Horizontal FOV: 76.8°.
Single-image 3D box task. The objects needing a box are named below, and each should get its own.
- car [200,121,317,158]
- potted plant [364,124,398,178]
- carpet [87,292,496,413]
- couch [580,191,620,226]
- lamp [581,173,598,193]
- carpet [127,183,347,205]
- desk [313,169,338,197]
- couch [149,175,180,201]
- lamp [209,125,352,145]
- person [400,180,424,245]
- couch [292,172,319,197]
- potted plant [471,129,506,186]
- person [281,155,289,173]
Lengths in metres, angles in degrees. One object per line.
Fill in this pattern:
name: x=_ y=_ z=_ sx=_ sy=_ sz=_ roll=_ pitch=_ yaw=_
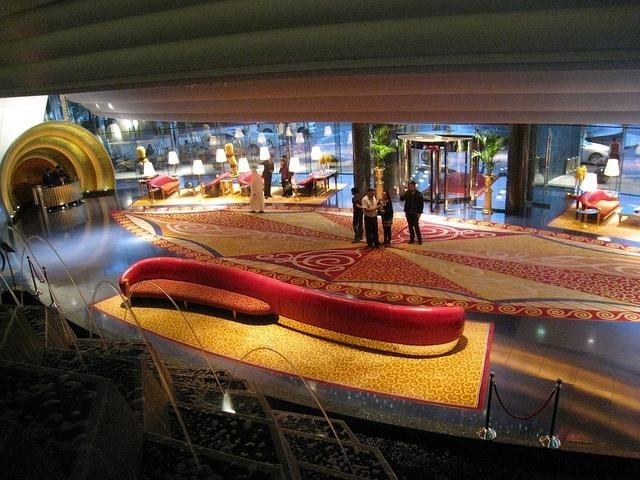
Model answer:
car: x=-2.900 y=-5.015 z=20.043 sx=5.028 sy=0.947 sz=2.347 roll=3 pitch=17 yaw=13
potted plant: x=2.305 y=-3.453 z=14.772 sx=0.925 sy=1.635 sz=0.719 roll=-2 pitch=16 yaw=7
carpet: x=0.382 y=1.763 z=6.328 sx=4.334 sy=0.044 sz=1.314 roll=3 pitch=19 yaw=24
couch: x=7.920 y=-0.913 z=11.811 sx=1.451 sy=0.441 sz=0.730 roll=-20 pitch=26 yaw=-38
lamp: x=7.673 y=-1.705 z=11.840 sx=0.386 sy=0.547 sz=0.447 roll=4 pitch=16 yaw=26
carpet: x=-3.149 y=-1.773 z=16.660 sx=8.459 sy=0.547 sz=2.403 roll=0 pitch=10 yaw=9
desk: x=0.254 y=-2.401 z=16.994 sx=0.680 sy=0.692 sz=1.834 roll=5 pitch=16 yaw=19
couch: x=-6.513 y=-2.256 z=17.614 sx=0.995 sy=0.599 sz=1.565 roll=10 pitch=23 yaw=14
lamp: x=-2.022 y=-5.235 z=19.594 sx=3.653 sy=0.517 sz=2.849 roll=-4 pitch=8 yaw=-30
person: x=2.383 y=-0.719 z=10.652 sx=0.516 sy=1.667 sz=1.095 roll=-1 pitch=15 yaw=11
couch: x=-0.404 y=-2.220 z=16.411 sx=0.530 sy=0.876 sz=1.027 roll=11 pitch=19 yaw=43
potted plant: x=5.305 y=-2.827 z=13.147 sx=0.762 sy=1.508 sz=0.886 roll=-8 pitch=16 yaw=-14
person: x=-1.359 y=-3.183 z=16.570 sx=0.307 sy=0.620 sz=0.500 roll=-5 pitch=14 yaw=-4
